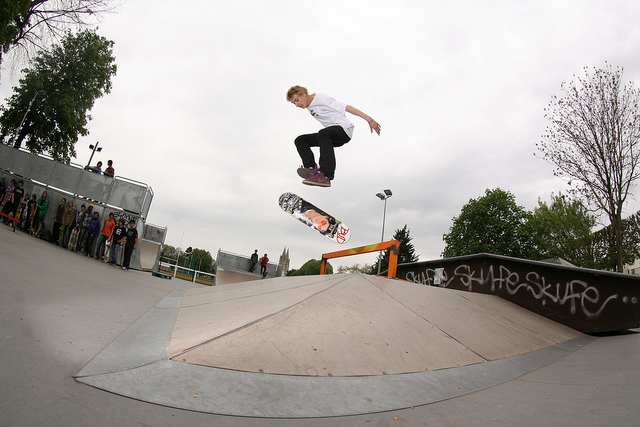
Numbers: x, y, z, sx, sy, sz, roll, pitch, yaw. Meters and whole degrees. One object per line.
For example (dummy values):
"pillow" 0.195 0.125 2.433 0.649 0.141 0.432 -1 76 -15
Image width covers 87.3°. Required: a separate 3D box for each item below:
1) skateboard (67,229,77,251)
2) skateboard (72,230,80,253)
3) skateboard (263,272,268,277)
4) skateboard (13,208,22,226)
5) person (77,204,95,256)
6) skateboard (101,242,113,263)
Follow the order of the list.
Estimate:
"skateboard" -8.416 0.922 11.369 0.224 0.807 0.120 10 2 12
"skateboard" -8.258 0.974 11.344 0.224 0.768 0.115 5 -3 12
"skateboard" -3.419 3.875 21.150 0.098 0.306 0.312 -21 -48 31
"skateboard" -10.157 0.140 11.196 0.129 0.457 0.791 17 -15 -41
"person" -8.013 0.582 11.362 0.406 1.647 0.530 18 -14 -42
"skateboard" -7.319 1.358 11.480 0.247 0.672 0.122 19 -9 8
